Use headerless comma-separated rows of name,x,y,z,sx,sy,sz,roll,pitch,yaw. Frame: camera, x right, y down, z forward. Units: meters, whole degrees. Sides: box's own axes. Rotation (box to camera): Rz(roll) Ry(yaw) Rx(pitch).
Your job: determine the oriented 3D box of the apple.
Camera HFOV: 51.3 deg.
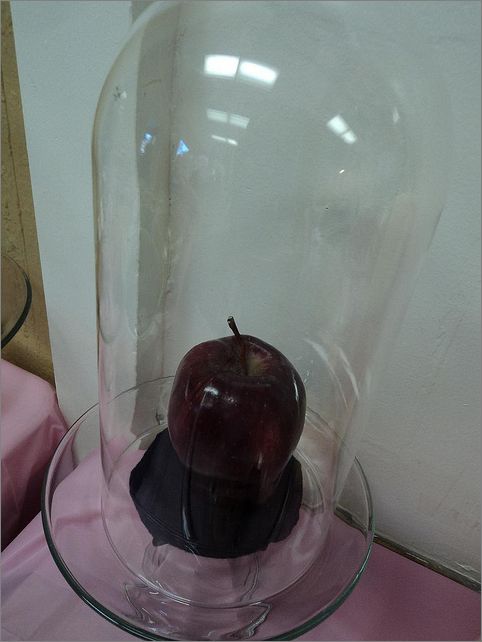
apple,-0.002,0.056,0.317,0.081,0.099,0.078,-6,31,-29
